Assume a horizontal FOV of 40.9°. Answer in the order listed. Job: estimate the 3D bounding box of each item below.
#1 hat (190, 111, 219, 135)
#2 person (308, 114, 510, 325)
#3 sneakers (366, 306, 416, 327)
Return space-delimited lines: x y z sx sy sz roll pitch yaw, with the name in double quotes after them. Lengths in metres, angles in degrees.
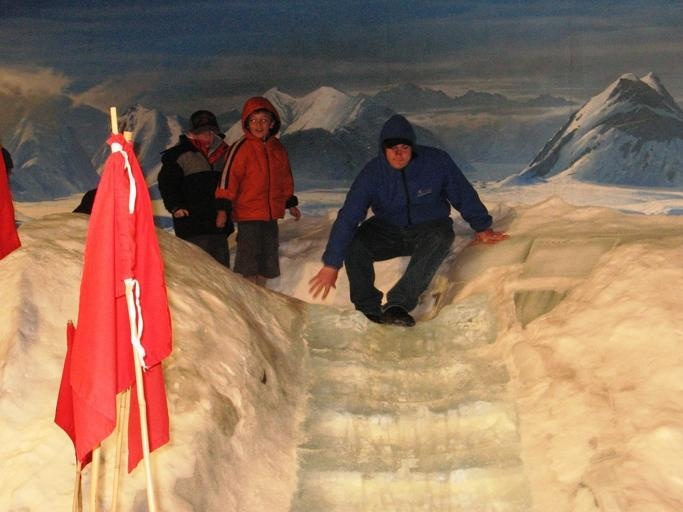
-1.076 -1.083 7.403 0.233 0.158 0.163 -17 19 -20 "hat"
0.443 -0.321 6.890 1.301 1.388 0.783 -14 28 -29 "person"
0.379 0.443 6.780 0.401 0.146 0.137 3 -6 20 "sneakers"
